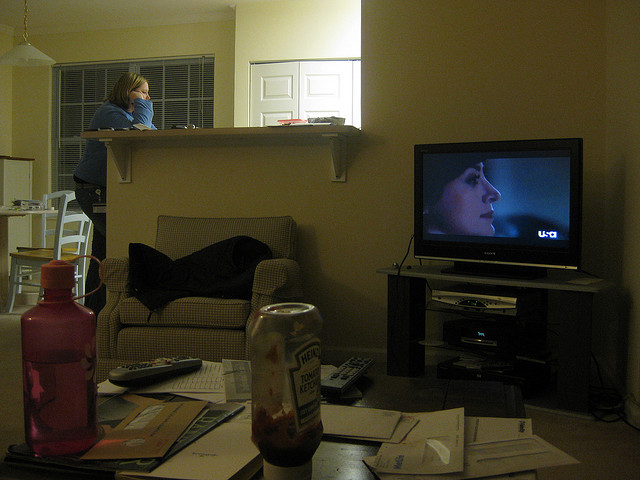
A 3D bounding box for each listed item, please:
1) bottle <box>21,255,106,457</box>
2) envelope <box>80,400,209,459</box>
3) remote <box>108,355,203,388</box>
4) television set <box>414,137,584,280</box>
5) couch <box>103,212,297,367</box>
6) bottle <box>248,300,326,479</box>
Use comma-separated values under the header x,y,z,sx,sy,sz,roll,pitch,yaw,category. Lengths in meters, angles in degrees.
x,y,z,sx,sy,sz,roll,pitch,yaw,category
-0.537,0.274,1.177,0.141,0.352,0.073,-3,5,-23,bottle
-0.382,0.427,1.265,0.182,0.012,0.300,1,7,12,envelope
-0.445,0.353,1.591,0.077,0.052,0.267,10,8,42,remote
0.908,-0.149,2.916,0.236,0.693,0.976,-9,10,-38,television set
-0.618,0.275,3.093,1.005,0.743,0.721,-1,11,10,couch
-0.066,0.301,1.101,0.101,0.340,0.107,-1,5,0,bottle
